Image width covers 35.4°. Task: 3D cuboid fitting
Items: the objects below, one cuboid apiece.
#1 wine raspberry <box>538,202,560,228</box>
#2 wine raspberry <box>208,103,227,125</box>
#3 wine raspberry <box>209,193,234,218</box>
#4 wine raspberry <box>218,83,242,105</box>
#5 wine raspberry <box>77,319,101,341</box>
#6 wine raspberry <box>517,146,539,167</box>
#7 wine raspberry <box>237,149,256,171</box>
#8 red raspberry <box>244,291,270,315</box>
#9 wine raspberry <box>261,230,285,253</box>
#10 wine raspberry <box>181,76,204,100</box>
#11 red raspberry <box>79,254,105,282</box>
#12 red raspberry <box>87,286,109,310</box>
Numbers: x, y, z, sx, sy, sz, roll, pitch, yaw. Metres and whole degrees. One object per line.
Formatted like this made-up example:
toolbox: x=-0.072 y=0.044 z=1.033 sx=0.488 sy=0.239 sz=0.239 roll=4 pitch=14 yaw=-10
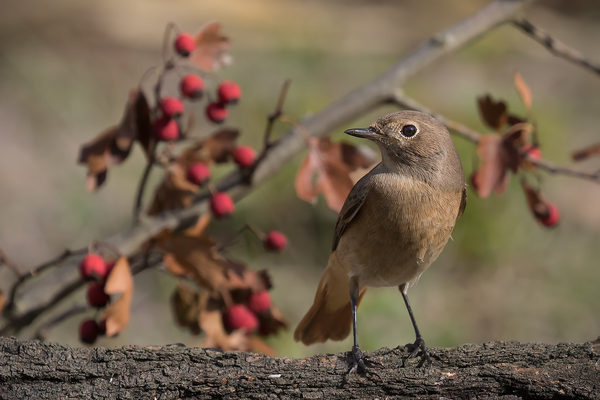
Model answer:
wine raspberry: x=1.512 y=0.064 z=5.669 sx=0.116 sy=0.160 sz=0.135 roll=-18 pitch=-48 yaw=-2
wine raspberry: x=-0.472 y=-0.490 z=5.290 sx=0.112 sy=0.103 sz=0.074 roll=13 pitch=-19 yaw=-22
wine raspberry: x=-0.435 y=0.027 z=5.239 sx=0.112 sy=0.139 sz=0.081 roll=-22 pitch=-23 yaw=-17
wine raspberry: x=-0.401 y=-0.595 z=5.276 sx=0.129 sy=0.135 sz=0.075 roll=8 pitch=-18 yaw=-7
wine raspberry: x=-1.256 y=0.784 z=5.593 sx=0.111 sy=0.132 sz=0.114 roll=-1 pitch=-3 yaw=13
wine raspberry: x=1.370 y=-0.258 z=5.603 sx=0.093 sy=0.103 sz=0.123 roll=-6 pitch=-2 yaw=-45
wine raspberry: x=-0.308 y=-0.240 z=5.293 sx=0.131 sy=0.099 sz=0.093 roll=6 pitch=-18 yaw=0
red raspberry: x=-0.223 y=0.572 z=5.368 sx=0.134 sy=0.134 sz=0.102 roll=20 pitch=15 yaw=28
wine raspberry: x=-0.144 y=0.248 z=5.573 sx=0.125 sy=0.139 sz=0.097 roll=-8 pitch=-20 yaw=16
wine raspberry: x=-0.594 y=-0.640 z=5.217 sx=0.137 sy=0.081 sz=0.129 roll=2 pitch=-17 yaw=18
red raspberry: x=-1.140 y=0.372 z=5.140 sx=0.128 sy=0.132 sz=0.133 roll=7 pitch=-34 yaw=-11
red raspberry: x=-1.130 y=0.537 z=5.218 sx=0.132 sy=0.117 sz=0.095 roll=-10 pitch=-23 yaw=40
